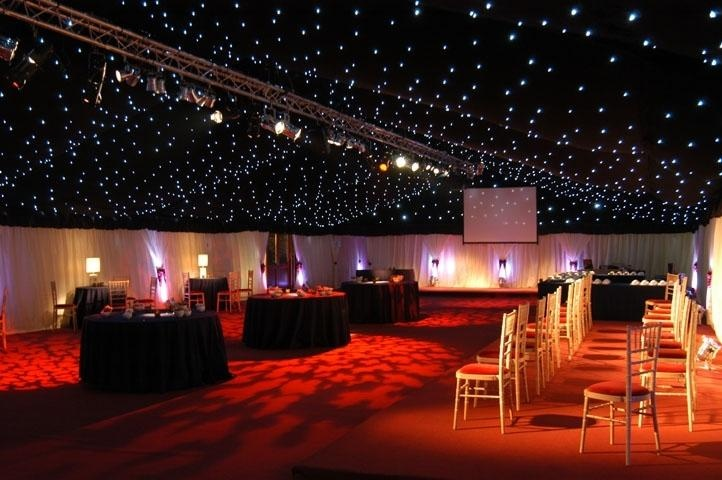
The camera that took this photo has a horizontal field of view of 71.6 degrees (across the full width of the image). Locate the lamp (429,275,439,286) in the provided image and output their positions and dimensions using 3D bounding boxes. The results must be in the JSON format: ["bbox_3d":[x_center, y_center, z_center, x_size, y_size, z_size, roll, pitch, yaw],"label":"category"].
[{"bbox_3d":[3.055,1.699,20.842,0.383,0.372,0.690,1,-1,9],"label":"lamp"}]
